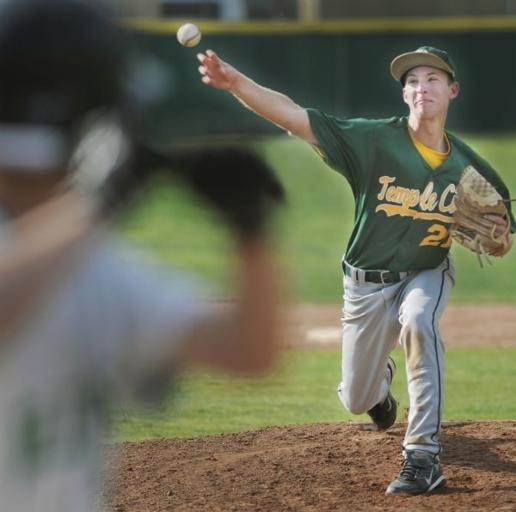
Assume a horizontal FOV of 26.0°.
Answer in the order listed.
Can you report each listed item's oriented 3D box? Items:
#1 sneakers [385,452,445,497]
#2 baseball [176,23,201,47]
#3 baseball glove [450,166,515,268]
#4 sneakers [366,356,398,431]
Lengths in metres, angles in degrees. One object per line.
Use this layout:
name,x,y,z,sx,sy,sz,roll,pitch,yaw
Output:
sneakers,0.678,0.929,4.754,0.117,0.135,0.340,0,0,37
baseball,-0.289,-0.975,4.896,0.113,0.100,0.108,-11,6,-38
baseball glove,1.023,-0.170,5.110,0.358,0.429,0.208,25,-25,-36
sneakers,0.585,0.678,5.533,0.146,0.310,0.109,-4,31,15
